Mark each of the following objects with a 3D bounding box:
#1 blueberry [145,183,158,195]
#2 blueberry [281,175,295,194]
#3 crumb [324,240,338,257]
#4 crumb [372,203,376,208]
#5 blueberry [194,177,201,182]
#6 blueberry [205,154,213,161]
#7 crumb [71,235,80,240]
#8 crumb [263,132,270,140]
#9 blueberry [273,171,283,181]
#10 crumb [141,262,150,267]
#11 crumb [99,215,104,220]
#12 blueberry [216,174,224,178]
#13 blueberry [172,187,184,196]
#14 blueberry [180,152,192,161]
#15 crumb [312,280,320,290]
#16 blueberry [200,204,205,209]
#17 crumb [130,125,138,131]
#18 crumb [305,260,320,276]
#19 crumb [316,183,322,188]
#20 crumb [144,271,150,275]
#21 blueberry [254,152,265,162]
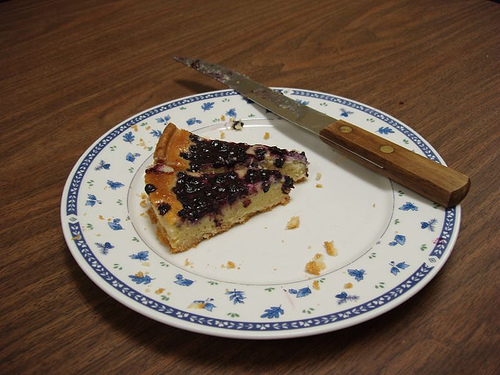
[{"bbox_3d":[-0.382,0.005,1.831,0.045,0.028,0.047,-25,83,-4],"label":"blueberry"},{"bbox_3d":[0.150,-0.009,1.915,0.054,0.020,0.076,30,71,4],"label":"blueberry"},{"bbox_3d":[0.293,0.225,1.725,0.053,0.017,0.048,-19,64,-15],"label":"crumb"},{"bbox_3d":[0.483,0.071,1.853,0.015,0.004,0.015,2,37,10],"label":"crumb"},{"bbox_3d":[-0.209,-0.033,1.884,0.025,0.016,0.017,-1,82,-1],"label":"blueberry"},{"bbox_3d":[-0.174,-0.127,1.989,0.038,0.010,0.022,2,55,2],"label":"blueberry"},{"bbox_3d":[-0.597,0.174,1.629,0.015,0.023,0.022,38,84,3],"label":"crumb"},{"bbox_3d":[0.072,-0.232,2.141,0.035,0.008,0.033,2,37,2],"label":"crumb"},{"bbox_3d":[0.112,-0.047,1.920,0.038,0.030,0.041,0,82,-1],"label":"blueberry"},{"bbox_3d":[-0.354,0.262,1.616,0.032,0.014,0.014,13,83,1],"label":"crumb"},{"bbox_3d":[-0.547,0.110,1.744,0.019,0.003,0.013,3,33,-6],"label":"crumb"},{"bbox_3d":[-0.121,-0.046,1.900,0.030,0.018,0.016,-3,83,-2],"label":"blueberry"},{"bbox_3d":[-0.278,0.013,1.838,0.036,0.018,0.042,-29,83,-5],"label":"blueberry"},{"bbox_3d":[-0.269,-0.132,1.990,0.048,0.018,0.035,-3,82,-2],"label":"blueberry"},{"bbox_3d":[0.219,0.324,1.568,0.021,0.008,0.043,-19,29,-16],"label":"crumb"},{"bbox_3d":[-0.180,0.074,1.795,0.017,0.012,0.018,3,82,-1],"label":"blueberry"},{"bbox_3d":[-0.511,-0.262,2.084,0.031,0.012,0.025,-32,75,-28],"label":"crumb"},{"bbox_3d":[0.218,0.283,1.659,0.055,0.012,0.047,-27,48,-23],"label":"crumb"},{"bbox_3d":[0.283,-0.007,1.953,0.022,0.005,0.016,4,39,14],"label":"crumb"},{"bbox_3d":[-0.344,0.287,1.579,0.016,0.014,0.012,20,83,2],"label":"crumb"},{"bbox_3d":[0.042,-0.130,2.015,0.043,0.020,0.038,-21,82,-4],"label":"blueberry"}]
